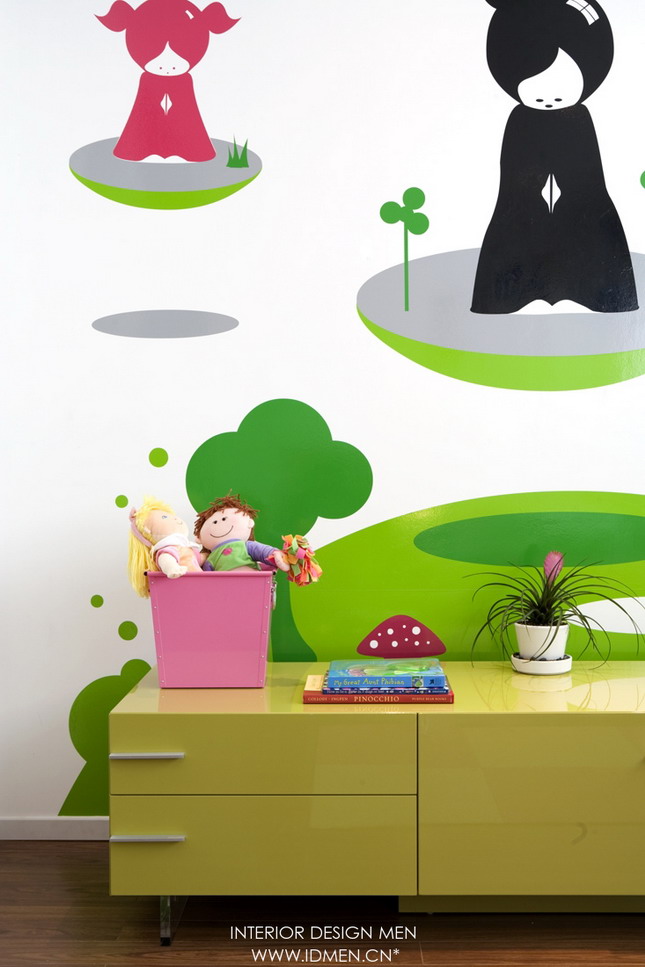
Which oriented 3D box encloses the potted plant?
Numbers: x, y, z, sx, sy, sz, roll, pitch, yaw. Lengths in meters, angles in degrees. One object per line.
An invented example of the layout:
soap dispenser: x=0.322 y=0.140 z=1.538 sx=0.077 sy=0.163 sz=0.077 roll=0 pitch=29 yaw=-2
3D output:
potted plant: x=0.503 y=0.244 z=2.014 sx=0.286 sy=0.177 sz=0.290 roll=5 pitch=7 yaw=44

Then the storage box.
storage box: x=-0.224 y=0.293 z=1.955 sx=0.258 sy=0.219 sz=0.242 roll=-1 pitch=-2 yaw=3
